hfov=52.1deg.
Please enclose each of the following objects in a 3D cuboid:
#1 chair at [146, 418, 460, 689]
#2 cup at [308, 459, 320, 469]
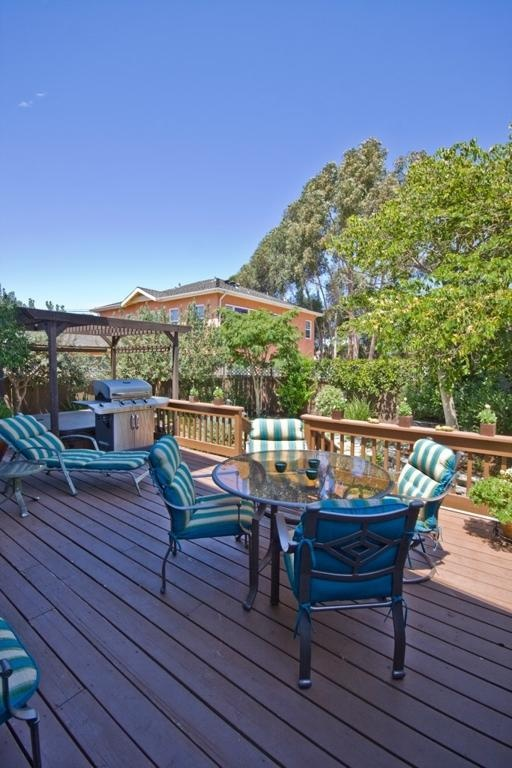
[{"bbox_3d":[0.264,0.770,2.962,1.643,0.853,1.353,6,9,40],"label":"chair"},{"bbox_3d":[0.361,0.499,3.306,0.049,0.043,0.051,-1,0,0],"label":"cup"}]
